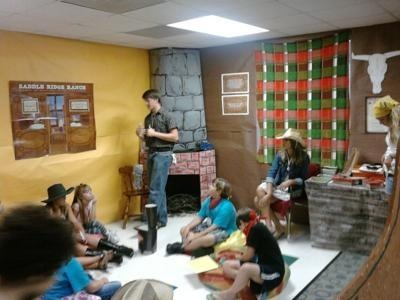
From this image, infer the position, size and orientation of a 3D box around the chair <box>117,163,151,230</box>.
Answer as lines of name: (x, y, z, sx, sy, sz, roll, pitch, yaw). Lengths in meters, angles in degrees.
chair: (-0.990, 0.700, 4.543, 0.535, 0.891, 0.597, 2, 2, 33)

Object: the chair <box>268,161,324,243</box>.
chair: (1.283, 0.625, 4.117, 0.699, 0.968, 0.588, 21, -20, -25)

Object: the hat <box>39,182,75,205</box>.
hat: (-1.500, 0.454, 3.142, 0.265, 0.223, 0.333, -5, 9, -23)

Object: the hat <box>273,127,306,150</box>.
hat: (1.256, -0.185, 3.986, 0.341, 0.146, 0.292, 20, -12, -26)

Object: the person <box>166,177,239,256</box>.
person: (0.135, 0.781, 3.843, 0.985, 1.004, 0.688, -1, 2, -22)

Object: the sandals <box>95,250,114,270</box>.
sandals: (-1.033, 1.191, 3.204, 0.090, 0.215, 0.121, 7, -23, 46)
